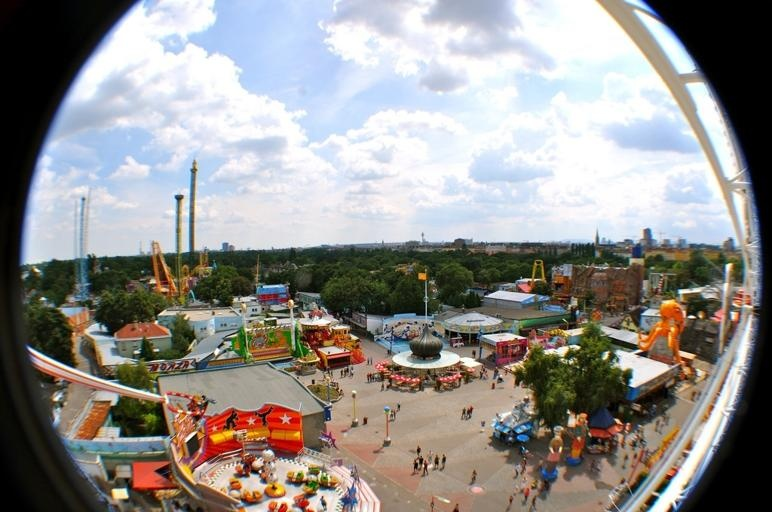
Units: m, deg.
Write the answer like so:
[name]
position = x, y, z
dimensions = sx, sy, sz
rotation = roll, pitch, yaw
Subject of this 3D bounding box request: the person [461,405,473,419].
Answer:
[person]
position = 4.008, 7.715, 25.927
dimensions = 0.283, 0.380, 0.793
rotation = 4, 12, 29
